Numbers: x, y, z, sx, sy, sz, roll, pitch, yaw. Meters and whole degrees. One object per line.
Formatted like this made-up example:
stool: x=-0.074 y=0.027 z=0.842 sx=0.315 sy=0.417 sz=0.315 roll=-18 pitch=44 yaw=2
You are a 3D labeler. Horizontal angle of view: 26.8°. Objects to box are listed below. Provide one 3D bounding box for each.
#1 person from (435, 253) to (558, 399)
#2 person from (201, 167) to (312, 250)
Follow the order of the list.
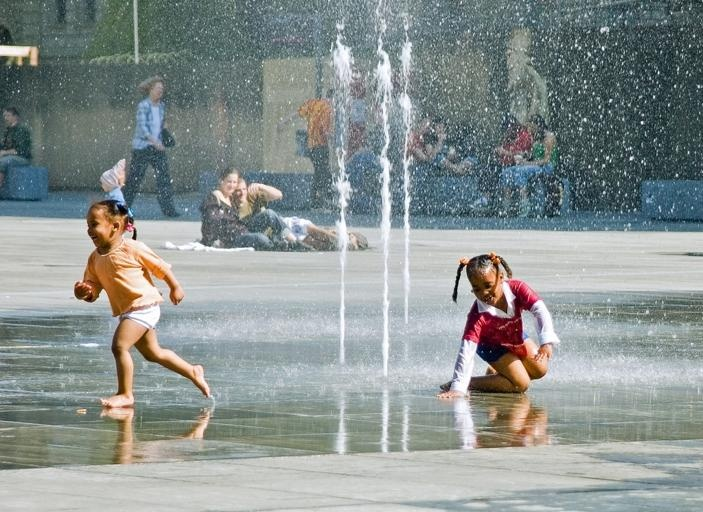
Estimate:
person: x=0.854 y=0.459 z=9.416 sx=0.733 sy=0.969 sz=1.038 roll=-11 pitch=-10 yaw=-4
person: x=-1.365 y=-0.594 z=18.929 sx=1.175 sy=1.070 sz=0.880 roll=-2 pitch=6 yaw=-32
